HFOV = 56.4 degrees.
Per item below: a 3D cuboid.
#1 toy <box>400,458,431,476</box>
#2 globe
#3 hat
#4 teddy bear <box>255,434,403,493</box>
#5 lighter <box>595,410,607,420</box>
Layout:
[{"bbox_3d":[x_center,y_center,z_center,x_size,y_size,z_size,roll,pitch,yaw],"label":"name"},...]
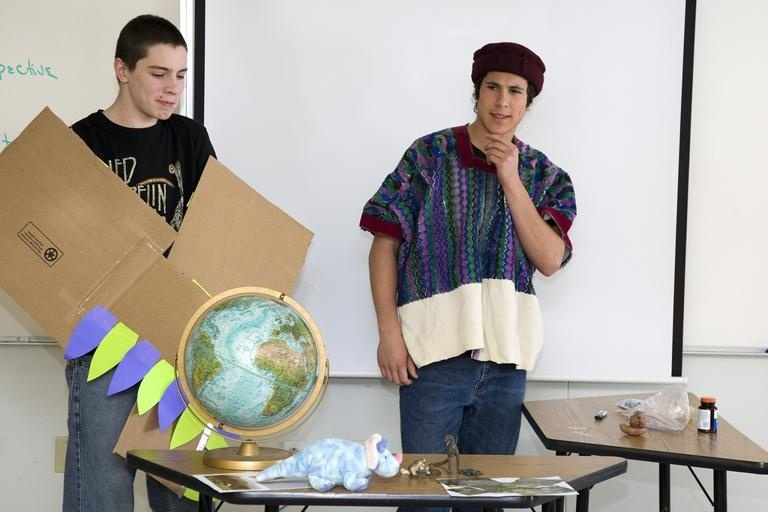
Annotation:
[{"bbox_3d":[0.102,0.642,2.218,0.063,0.028,0.048,-3,8,-19],"label":"toy"},{"bbox_3d":[-0.422,0.394,2.308,0.448,0.618,0.349,6,3,-4],"label":"globe"},{"bbox_3d":[0.475,-0.708,2.732,0.266,0.155,0.129,3,-18,3],"label":"hat"},{"bbox_3d":[-0.169,0.624,2.170,0.427,0.171,0.133,3,-18,3],"label":"teddy bear"},{"bbox_3d":[0.836,0.607,2.763,0.025,0.014,0.046,7,22,23],"label":"lighter"}]
